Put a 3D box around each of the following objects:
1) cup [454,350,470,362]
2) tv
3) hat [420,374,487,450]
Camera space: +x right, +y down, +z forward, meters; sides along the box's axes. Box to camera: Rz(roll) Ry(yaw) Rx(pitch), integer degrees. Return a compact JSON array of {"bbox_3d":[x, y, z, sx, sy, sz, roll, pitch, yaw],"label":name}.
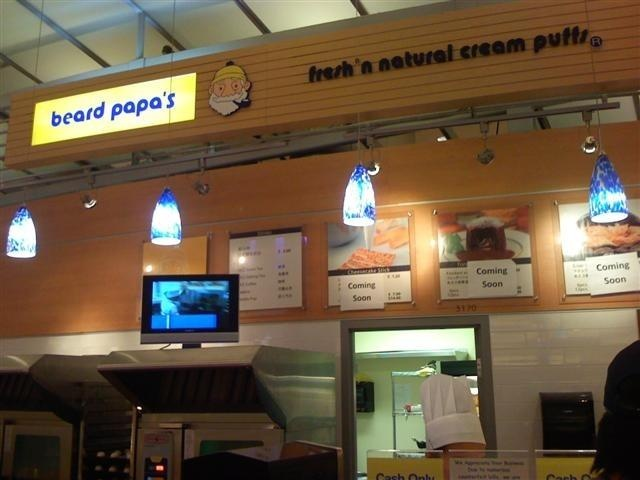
[{"bbox_3d":[1.821,1.460,8.015,0.225,0.165,0.132,1,2,16],"label":"cup"},{"bbox_3d":[-1.150,0.621,5.522,0.572,0.439,0.186,-1,-16,1],"label":"tv"},{"bbox_3d":[0.861,1.164,4.103,0.391,0.472,0.473,-8,-8,4],"label":"hat"}]
